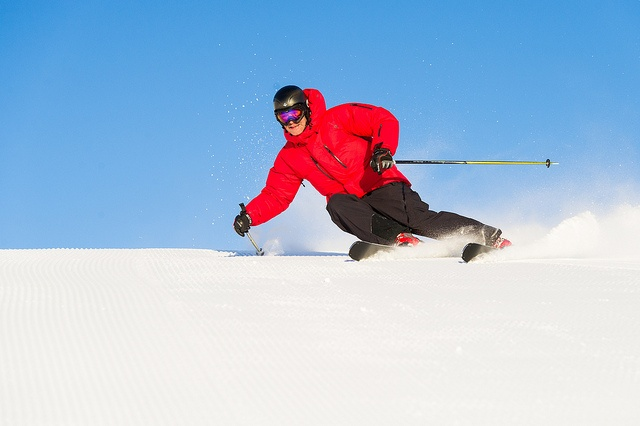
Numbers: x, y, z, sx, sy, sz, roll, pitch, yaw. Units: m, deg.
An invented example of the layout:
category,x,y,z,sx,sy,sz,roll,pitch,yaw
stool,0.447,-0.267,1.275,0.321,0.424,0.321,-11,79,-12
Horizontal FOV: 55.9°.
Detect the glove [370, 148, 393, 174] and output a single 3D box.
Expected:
category,x,y,z,sx,sy,sz,roll,pitch,yaw
glove,0.491,-0.419,4.825,0.159,0.211,0.096,-10,-11,35
